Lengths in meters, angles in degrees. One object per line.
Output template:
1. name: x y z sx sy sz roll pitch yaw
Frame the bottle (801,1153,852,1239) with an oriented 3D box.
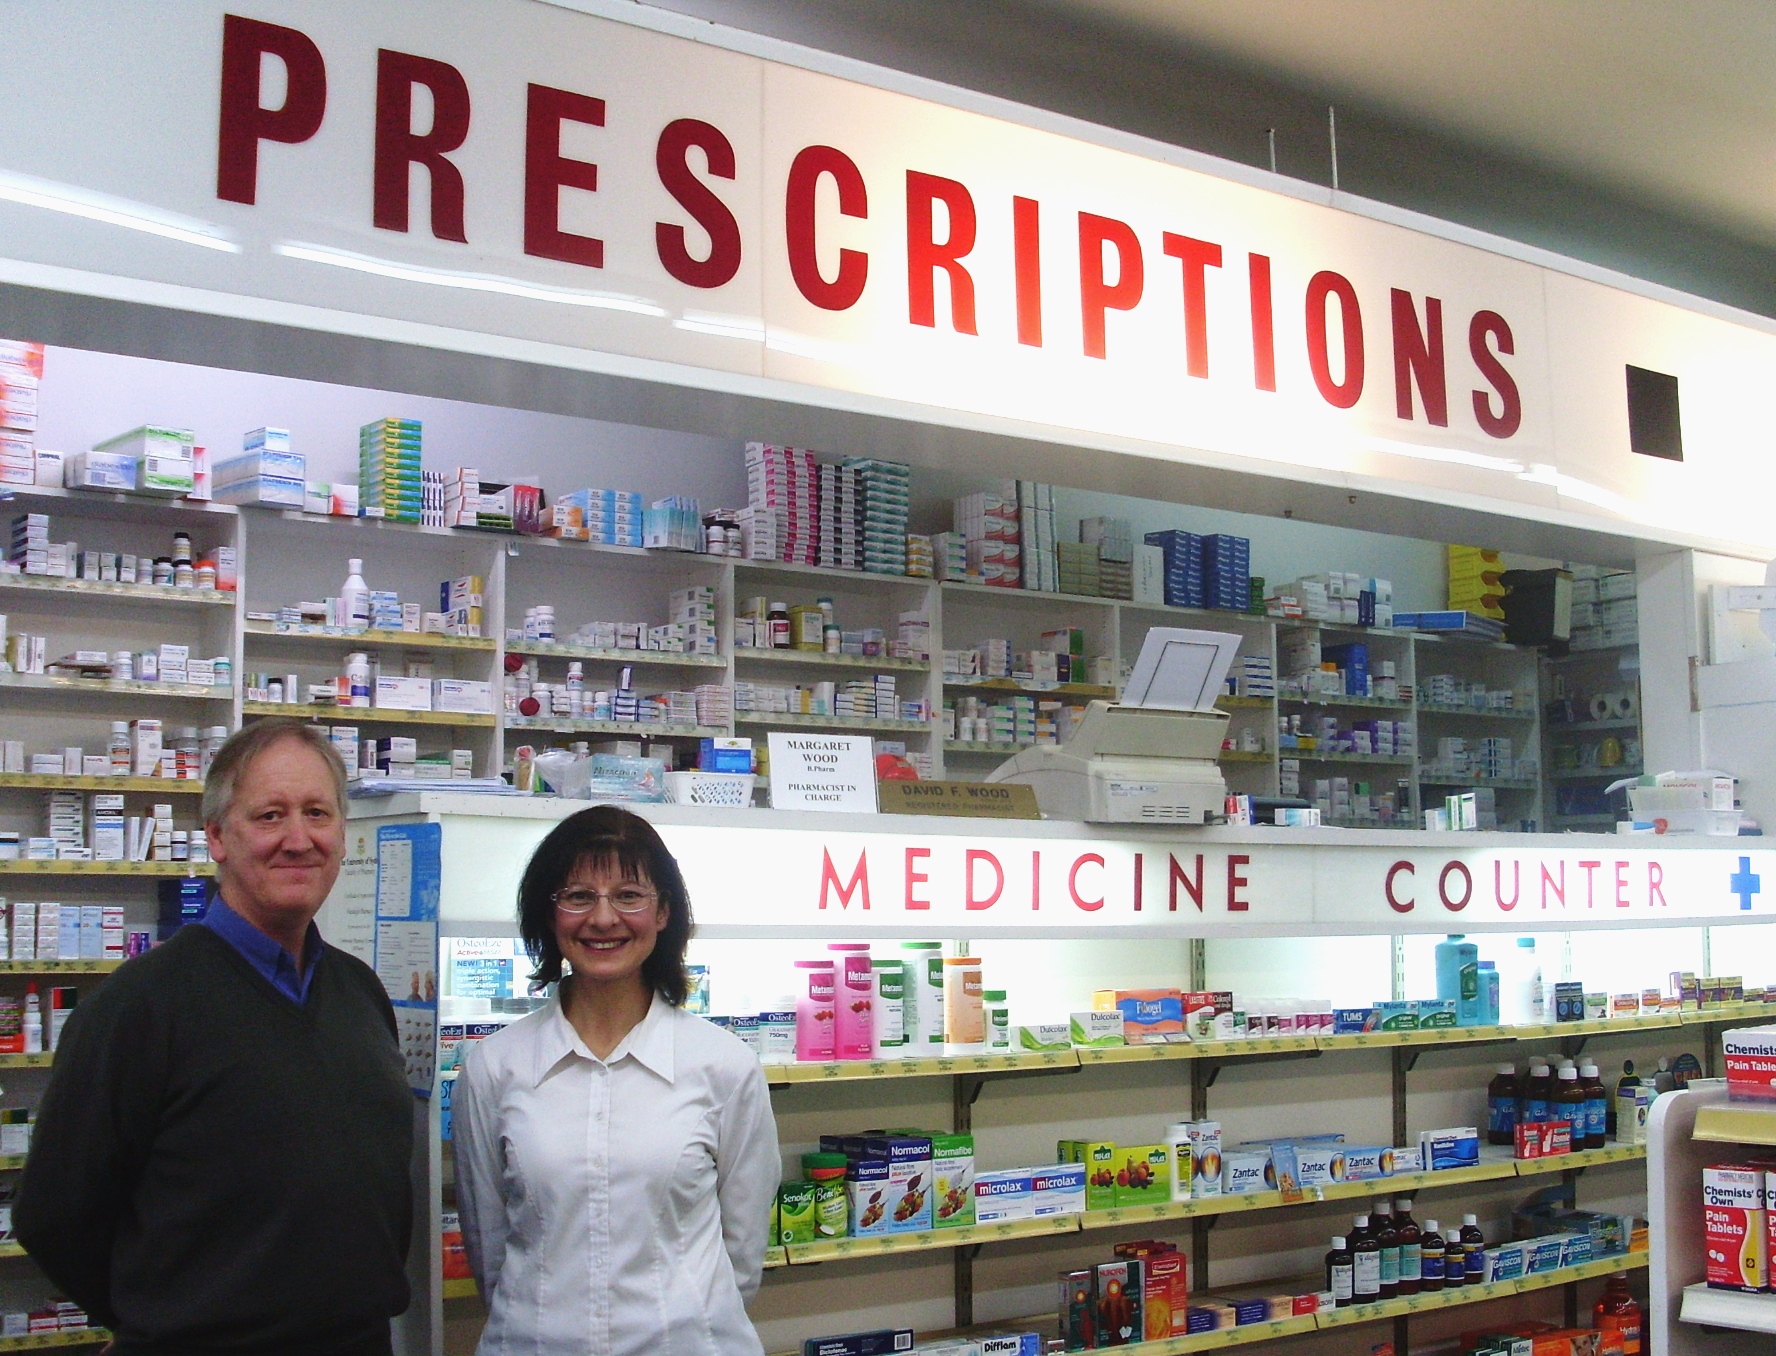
1. bottle: -0.157 1.367 4.173 0.112 0.211 0.113 -3 6 0
